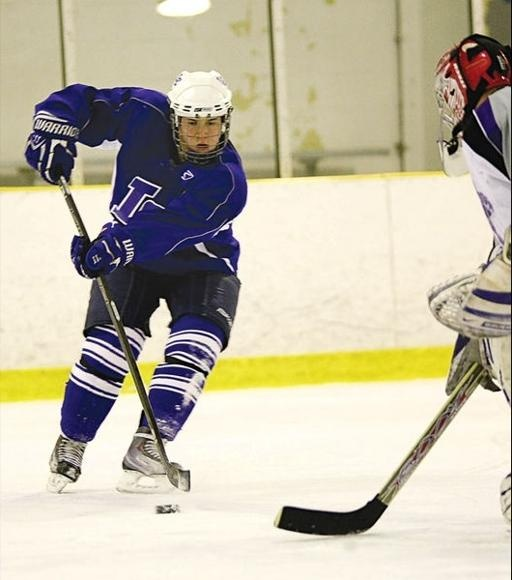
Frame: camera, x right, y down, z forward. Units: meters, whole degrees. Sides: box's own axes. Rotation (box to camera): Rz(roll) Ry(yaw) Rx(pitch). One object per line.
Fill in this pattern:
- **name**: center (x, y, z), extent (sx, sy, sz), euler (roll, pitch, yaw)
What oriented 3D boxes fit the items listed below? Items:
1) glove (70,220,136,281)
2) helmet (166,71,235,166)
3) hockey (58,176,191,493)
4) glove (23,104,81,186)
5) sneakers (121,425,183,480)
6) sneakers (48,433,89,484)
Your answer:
- **glove**: center (-0.408, -0.105, 2.303), extent (0.182, 0.071, 0.131), euler (15, 36, 40)
- **helmet**: center (-0.154, -0.480, 2.438), extent (0.175, 0.250, 0.145), euler (4, 12, -6)
- **hockey**: center (-0.388, 0.155, 2.596), extent (0.159, 1.126, 0.183), euler (-30, -16, 18)
- **glove**: center (-0.582, -0.418, 2.520), extent (0.175, 0.203, 0.092), euler (18, 18, -24)
- **sneakers**: center (-0.259, 0.424, 2.317), extent (0.188, 0.132, 0.062), euler (10, -5, 30)
- **sneakers**: center (-0.500, 0.456, 2.403), extent (0.060, 0.156, 0.072), euler (26, -44, -29)
